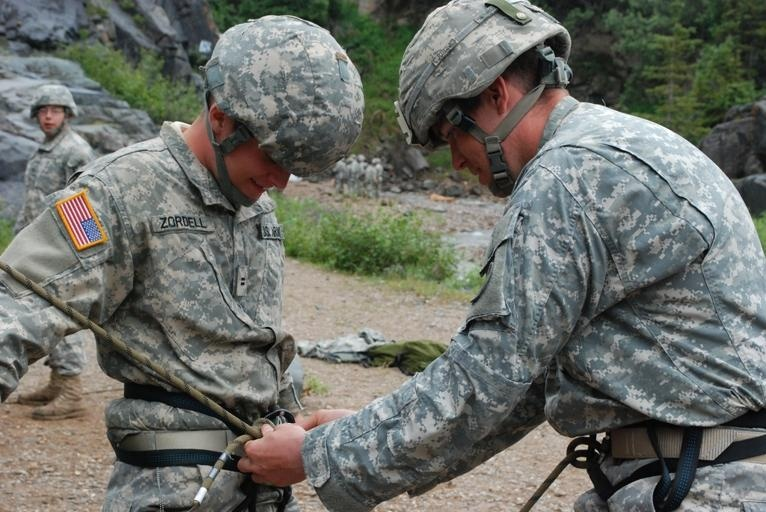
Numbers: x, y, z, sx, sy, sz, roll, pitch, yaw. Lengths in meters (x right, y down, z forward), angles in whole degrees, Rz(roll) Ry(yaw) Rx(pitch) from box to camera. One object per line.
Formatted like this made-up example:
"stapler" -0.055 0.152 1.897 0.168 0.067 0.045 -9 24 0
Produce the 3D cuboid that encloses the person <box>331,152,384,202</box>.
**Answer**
"person" -0.322 -1.500 21.665 0.839 0.661 1.154 0 -5 -2

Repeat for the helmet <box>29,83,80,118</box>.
"helmet" -2.145 -1.043 7.819 0.316 0.203 0.321 -3 2 -1
